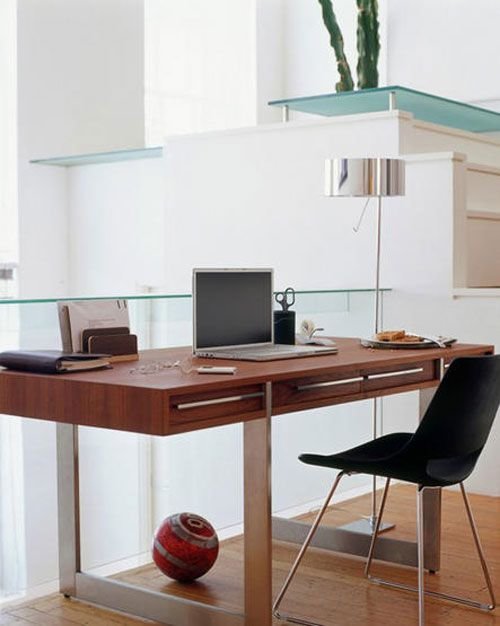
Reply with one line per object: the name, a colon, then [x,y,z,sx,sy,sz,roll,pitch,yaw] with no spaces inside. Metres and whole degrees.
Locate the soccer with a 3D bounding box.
soccer: [-0.169,0.639,1.738,0.166,0.171,0.171,3,-14,36]
